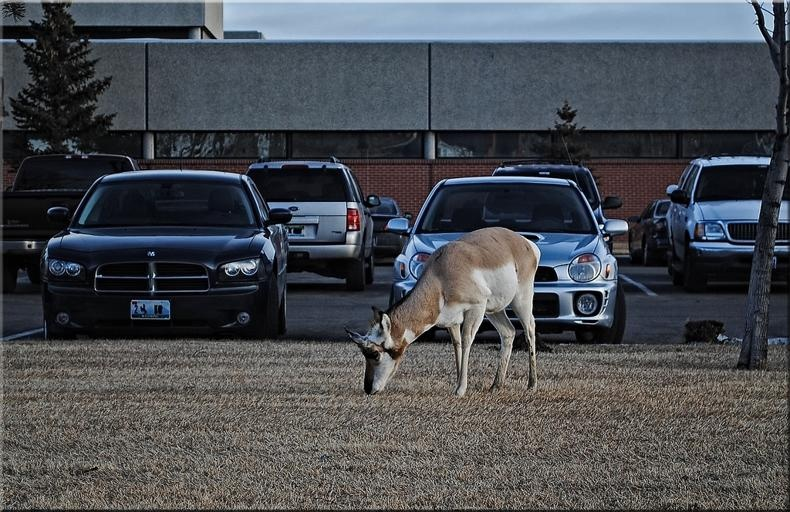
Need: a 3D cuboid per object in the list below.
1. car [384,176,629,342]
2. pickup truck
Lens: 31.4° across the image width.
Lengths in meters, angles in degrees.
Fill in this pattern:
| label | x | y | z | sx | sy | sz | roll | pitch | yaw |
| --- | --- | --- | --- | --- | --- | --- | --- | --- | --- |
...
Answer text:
| label | x | y | z | sx | sy | sz | roll | pitch | yaw |
| --- | --- | --- | --- | --- | --- | --- | --- | --- | --- |
| car | 2.224 | 0.003 | 21.097 | 2.200 | 2.225 | 5.109 | 0 | 2 | 7 |
| pickup truck | -6.922 | -1.006 | 28.279 | 1.847 | 1.696 | 3.991 | 0 | 4 | 2 |
